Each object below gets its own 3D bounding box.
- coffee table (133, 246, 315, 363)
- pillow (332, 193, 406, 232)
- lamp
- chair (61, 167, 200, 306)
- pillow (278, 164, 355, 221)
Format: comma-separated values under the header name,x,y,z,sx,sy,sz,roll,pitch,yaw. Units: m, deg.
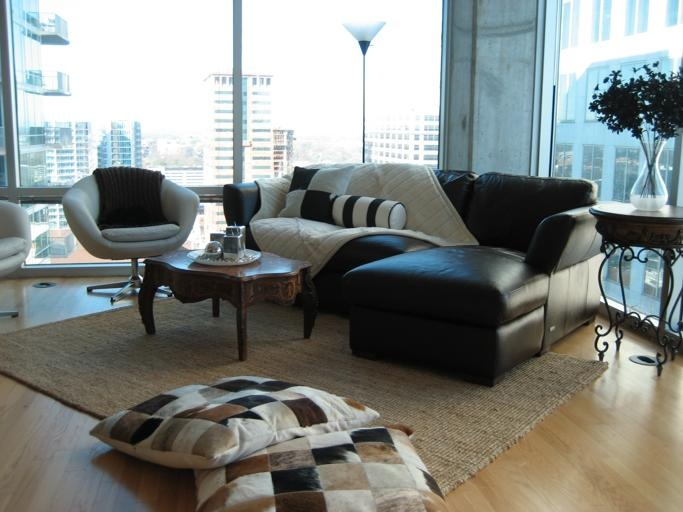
name,x,y,z,sx,sy,sz,roll,pitch,yaw
coffee table,-0.636,0.105,2.873,0.993,0.368,0.739,7,10,33
pillow,0.285,-0.343,3.857,0.670,0.240,0.284,8,24,33
lamp,0.203,-1.519,4.783,0.365,1.244,0.399,0,17,1
chair,-1.591,-0.223,4.441,1.423,1.065,1.185,-3,11,-28
pillow,-0.148,-0.489,4.140,0.613,0.468,0.176,6,-18,35
